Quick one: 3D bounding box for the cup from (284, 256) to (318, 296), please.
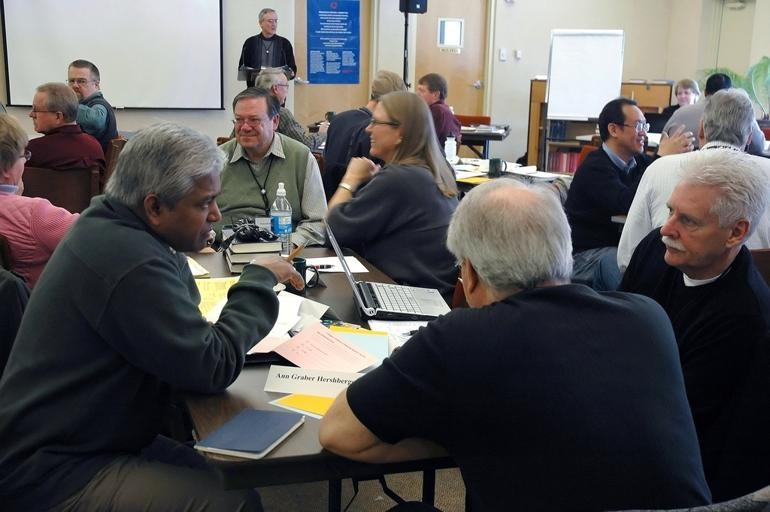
[{"bbox_3d":[-0.323,0.083,2.275,0.162,0.150,0.091,0,11,-9],"label":"cup"}]

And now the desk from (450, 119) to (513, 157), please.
[{"bbox_3d":[1.146,-1.433,6.732,0.687,0.285,1.050,2,23,9],"label":"desk"}]

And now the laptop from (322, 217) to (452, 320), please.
[{"bbox_3d":[0.058,0.062,2.092,0.330,0.215,0.339,1,24,-15],"label":"laptop"}]

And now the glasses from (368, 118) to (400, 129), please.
[{"bbox_3d":[-0.006,-0.674,2.851,0.173,0.043,0.048,12,19,39],"label":"glasses"}]

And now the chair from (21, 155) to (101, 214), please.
[{"bbox_3d":[-2.323,-0.503,4.101,0.406,0.456,0.594,7,10,44],"label":"chair"}]

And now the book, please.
[{"bbox_3d":[-0.333,0.442,1.415,0.214,0.039,0.176,3,15,13],"label":"book"}]
